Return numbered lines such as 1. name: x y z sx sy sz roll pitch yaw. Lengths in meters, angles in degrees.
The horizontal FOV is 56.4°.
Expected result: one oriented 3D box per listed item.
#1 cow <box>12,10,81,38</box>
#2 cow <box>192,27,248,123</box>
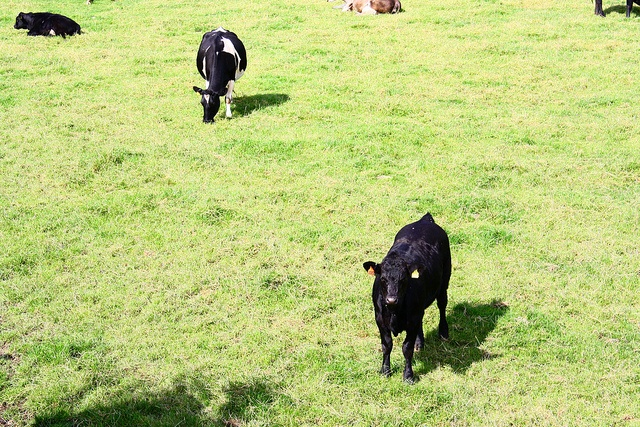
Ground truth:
1. cow: -12.235 -8.363 26.604 3.300 0.854 0.938 14 30 20
2. cow: -3.295 -4.674 19.836 1.195 2.102 3.862 2 44 0
